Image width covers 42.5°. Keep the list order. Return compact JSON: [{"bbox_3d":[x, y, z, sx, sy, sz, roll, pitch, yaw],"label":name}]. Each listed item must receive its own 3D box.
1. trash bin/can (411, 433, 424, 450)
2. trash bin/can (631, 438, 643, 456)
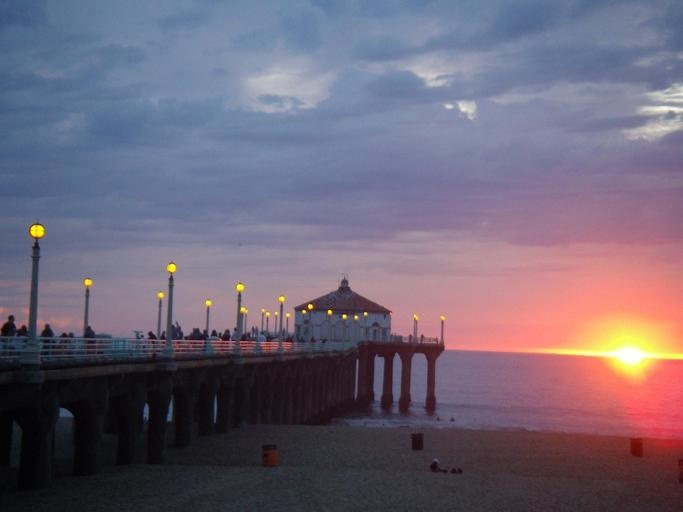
[{"bbox_3d":[3.918,9.479,44.762,0.710,0.851,0.693,-1,-6,-1],"label":"trash bin/can"},{"bbox_3d":[15.402,9.912,45.488,0.593,0.866,1.410,-3,-5,17],"label":"trash bin/can"}]
